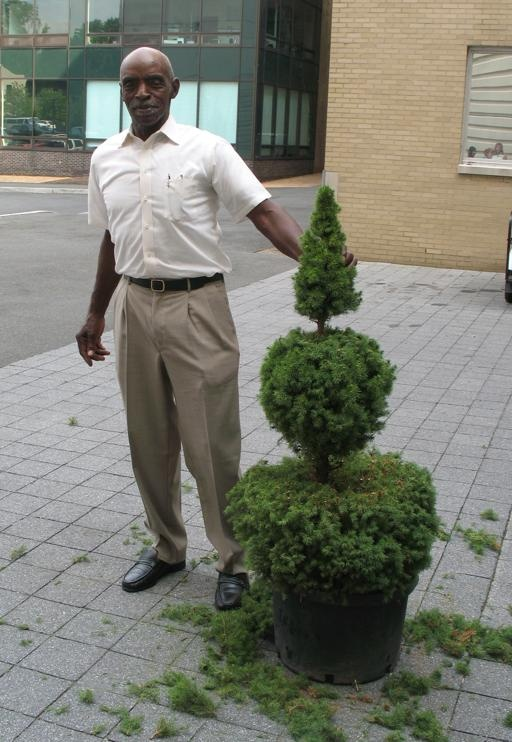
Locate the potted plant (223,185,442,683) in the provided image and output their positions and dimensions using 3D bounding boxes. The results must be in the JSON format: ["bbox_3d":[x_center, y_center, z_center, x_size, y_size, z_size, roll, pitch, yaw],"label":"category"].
[{"bbox_3d":[0.227,0.230,1.981,0.681,1.579,0.446,2,8,15],"label":"potted plant"}]

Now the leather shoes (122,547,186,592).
[{"bbox_3d":[-0.456,0.874,2.774,0.102,0.113,0.287,1,4,33],"label":"leather shoes"}]

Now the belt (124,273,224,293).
[{"bbox_3d":[-0.317,-0.339,2.407,0.366,0.073,0.177,0,7,-6],"label":"belt"}]
